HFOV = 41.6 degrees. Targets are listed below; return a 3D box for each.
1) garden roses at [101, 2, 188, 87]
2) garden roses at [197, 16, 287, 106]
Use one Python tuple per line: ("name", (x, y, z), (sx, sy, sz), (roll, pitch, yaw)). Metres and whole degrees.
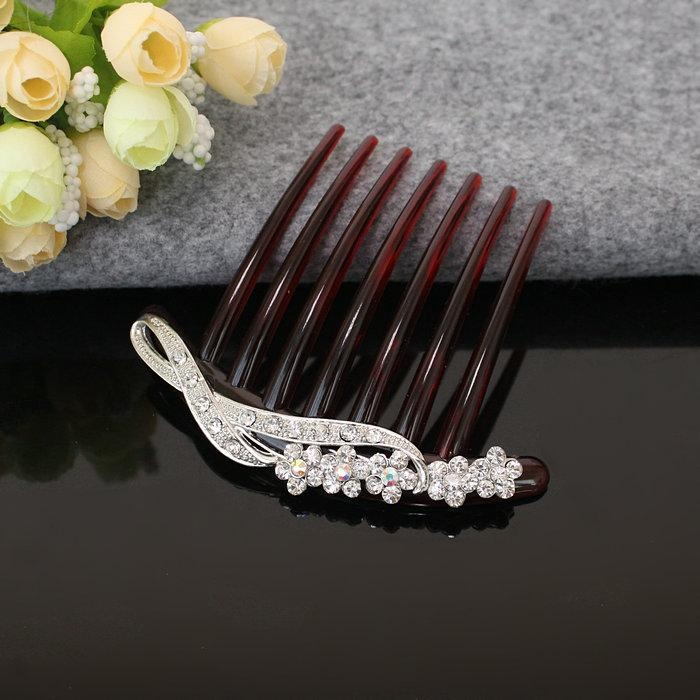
("garden roses", (-0.255, -0.376, 1.162), (0.106, 0.091, 0.090), (-9, 64, -6))
("garden roses", (-0.144, -0.403, 1.298), (0.133, 0.094, 0.092), (32, 43, 10))
